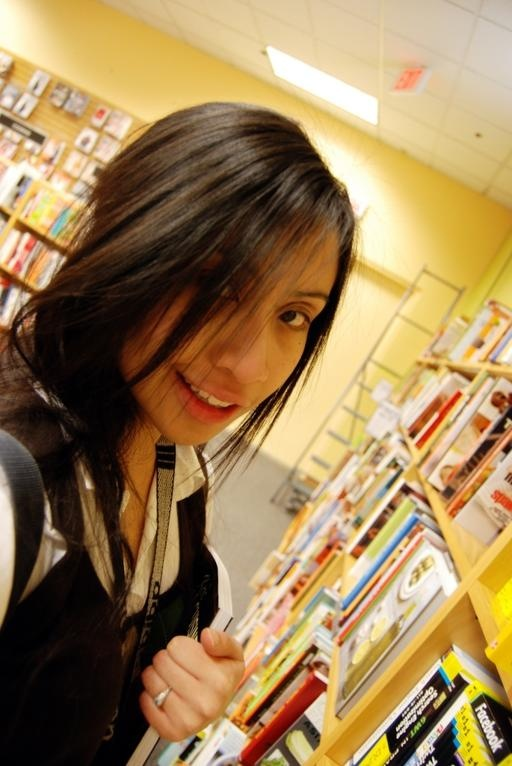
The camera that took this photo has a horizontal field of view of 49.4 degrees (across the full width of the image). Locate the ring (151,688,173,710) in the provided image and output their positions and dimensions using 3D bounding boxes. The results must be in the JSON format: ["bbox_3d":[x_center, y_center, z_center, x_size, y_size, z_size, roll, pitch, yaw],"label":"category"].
[{"bbox_3d":[-0.122,0.413,0.726,0.012,0.029,0.011,46,-15,17],"label":"ring"}]
